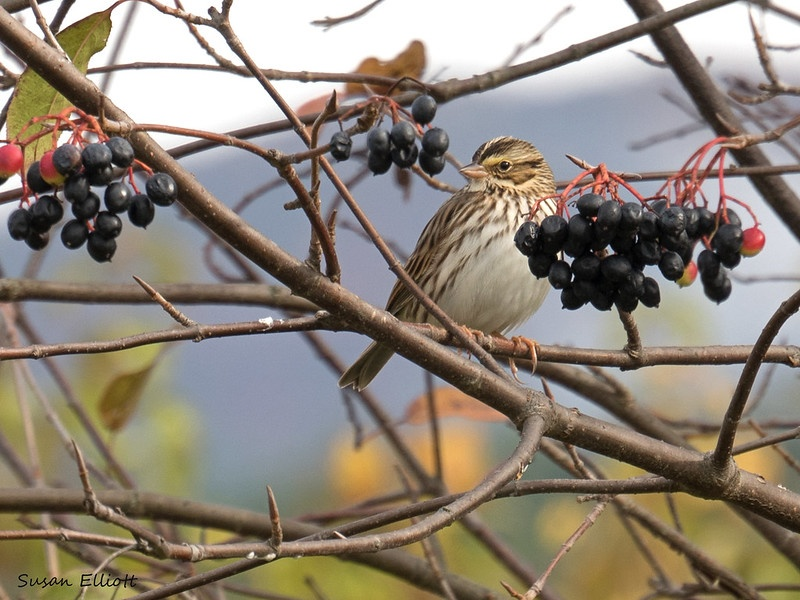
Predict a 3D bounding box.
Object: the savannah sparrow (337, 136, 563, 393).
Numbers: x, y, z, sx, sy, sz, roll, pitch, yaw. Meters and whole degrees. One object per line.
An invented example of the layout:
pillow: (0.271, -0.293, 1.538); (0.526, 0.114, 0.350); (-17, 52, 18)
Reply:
savannah sparrow: (0.502, -0.043, 6.582); (1.108, 1.643, 1.779); (4, -71, -12)
